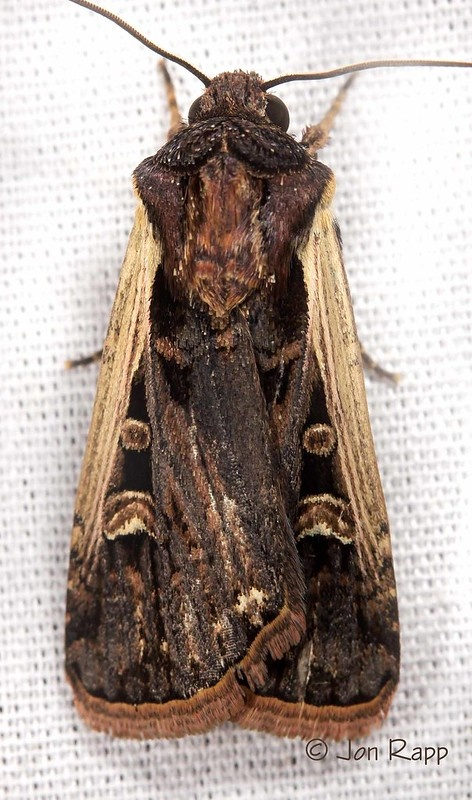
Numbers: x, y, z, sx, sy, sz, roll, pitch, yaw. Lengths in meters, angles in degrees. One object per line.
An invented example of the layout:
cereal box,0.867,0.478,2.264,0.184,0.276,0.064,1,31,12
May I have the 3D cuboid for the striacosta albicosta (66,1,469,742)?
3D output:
striacosta albicosta,0.090,-0.038,1.780,0.785,0.323,1.387,-1,87,1
